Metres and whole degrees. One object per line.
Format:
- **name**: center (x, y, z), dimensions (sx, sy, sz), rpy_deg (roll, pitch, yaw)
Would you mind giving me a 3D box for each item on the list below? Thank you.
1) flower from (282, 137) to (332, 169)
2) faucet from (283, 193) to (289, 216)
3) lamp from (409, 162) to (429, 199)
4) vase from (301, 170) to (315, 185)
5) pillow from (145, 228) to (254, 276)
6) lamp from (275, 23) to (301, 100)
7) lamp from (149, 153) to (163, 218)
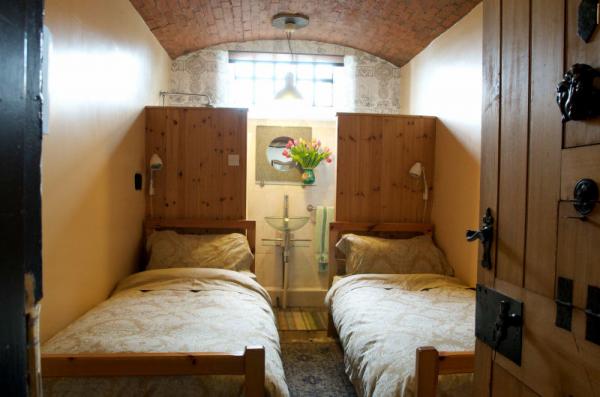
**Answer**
- **flower**: center (0.100, -0.471, 4.729), dimensions (0.414, 0.272, 0.343), rpy_deg (2, 6, 5)
- **faucet**: center (-0.140, 0.071, 4.780), dimensions (0.070, 0.220, 0.092), rpy_deg (1, 7, -1)
- **lamp**: center (1.096, -0.156, 4.143), dimensions (0.143, 0.354, 0.223), rpy_deg (8, 10, 41)
- **vase**: center (0.097, -0.218, 4.725), dimensions (0.160, 0.170, 0.219), rpy_deg (1, 7, 0)
- **pillow**: center (-0.844, 0.441, 3.691), dimensions (0.601, 0.186, 0.461), rpy_deg (3, 21, -6)
- **lamp**: center (-0.107, -1.391, 4.605), dimensions (0.271, 0.756, 0.791), rpy_deg (1, 7, -1)
- **lamp**: center (-1.263, -0.104, 3.936), dimensions (0.119, 0.566, 0.143), rpy_deg (-1, 8, -18)
